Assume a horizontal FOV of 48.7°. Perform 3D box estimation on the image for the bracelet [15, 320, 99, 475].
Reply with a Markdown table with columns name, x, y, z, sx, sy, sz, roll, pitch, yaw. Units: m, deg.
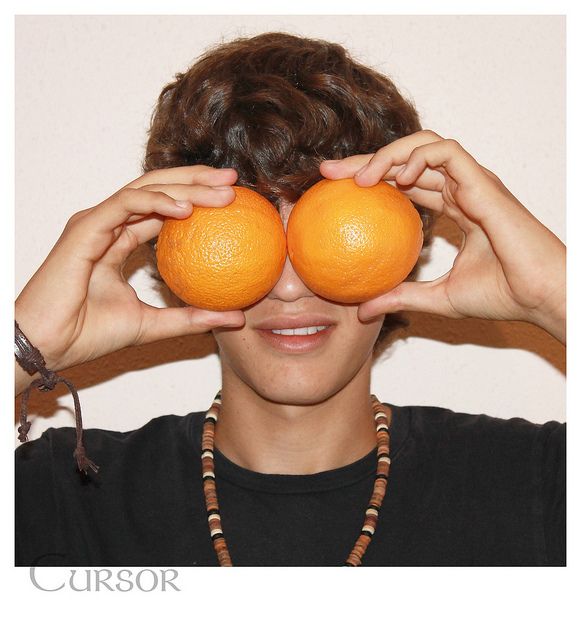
| name | x | y | z | sx | sy | sz | roll | pitch | yaw |
| --- | --- | --- | --- | --- | --- | --- | --- | --- | --- |
| bracelet | -0.618 | 0.169 | 1.623 | 0.232 | 0.454 | 0.071 | -8 | -4 | -2 |

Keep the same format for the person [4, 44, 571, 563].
| name | x | y | z | sx | sy | sz | roll | pitch | yaw |
| --- | --- | --- | --- | --- | --- | --- | --- | --- | --- |
| person | 0.040 | 0.082 | 2.096 | 1.633 | 1.560 | 0.567 | 1 | 3 | 6 |
